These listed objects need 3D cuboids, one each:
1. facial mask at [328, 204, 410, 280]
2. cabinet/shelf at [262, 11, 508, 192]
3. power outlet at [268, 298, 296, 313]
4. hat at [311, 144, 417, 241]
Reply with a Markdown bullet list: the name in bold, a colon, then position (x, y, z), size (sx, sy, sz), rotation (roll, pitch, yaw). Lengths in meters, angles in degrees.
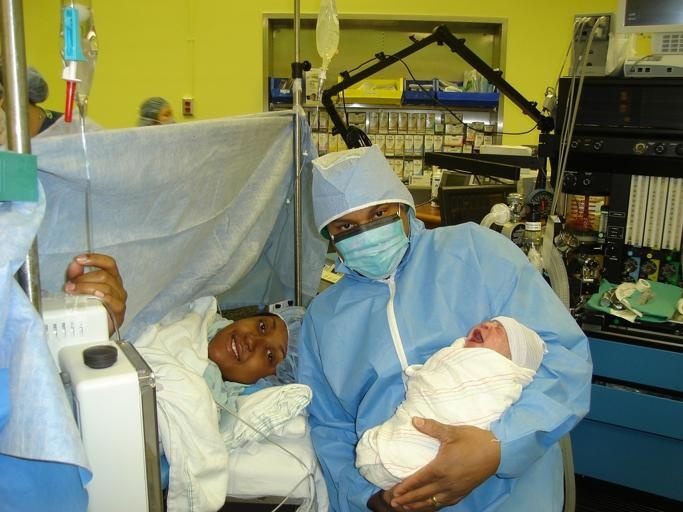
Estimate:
- **facial mask**: position (0.092, -0.066, 1.926), size (0.214, 0.170, 0.265), rotation (-18, 10, 7)
- **cabinet/shelf**: position (0.358, -1.111, 4.080), size (1.787, 1.851, 0.606), rotation (2, 15, 4)
- **power outlet**: position (-0.277, 0.228, 2.657), size (0.065, 0.027, 0.106), rotation (0, 5, 25)
- **hat**: position (0.082, -0.219, 2.066), size (0.294, 0.228, 0.302), rotation (-24, -9, 13)
